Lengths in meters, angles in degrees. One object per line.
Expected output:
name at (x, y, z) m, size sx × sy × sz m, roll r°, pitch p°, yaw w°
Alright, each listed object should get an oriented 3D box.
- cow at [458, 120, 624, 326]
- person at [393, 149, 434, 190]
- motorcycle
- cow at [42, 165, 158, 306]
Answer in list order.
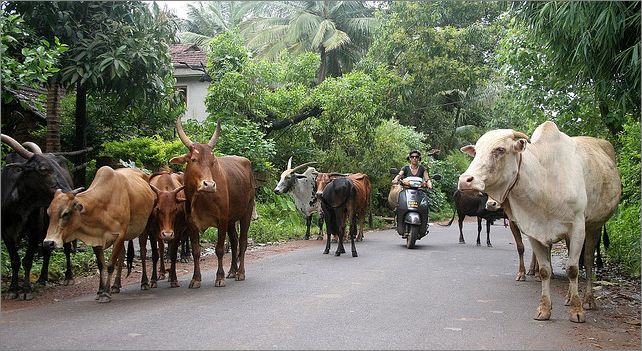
cow at (4.790, 0.854, 10.264) m, size 3.813 × 3.959 × 1.507 m, roll -3°, pitch 6°, yaw -29°
person at (3.259, -0.227, 17.219) m, size 1.403 × 1.228 × 0.803 m, roll 2°, pitch 15°, yaw 21°
motorcycle at (3.102, 1.121, 16.697) m, size 1.088 × 2.821 × 1.240 m, roll 1°, pitch 6°, yaw 7°
cow at (-4.894, 1.272, 11.167) m, size 1.109 × 2.929 × 2.363 m, roll 3°, pitch 6°, yaw 30°
